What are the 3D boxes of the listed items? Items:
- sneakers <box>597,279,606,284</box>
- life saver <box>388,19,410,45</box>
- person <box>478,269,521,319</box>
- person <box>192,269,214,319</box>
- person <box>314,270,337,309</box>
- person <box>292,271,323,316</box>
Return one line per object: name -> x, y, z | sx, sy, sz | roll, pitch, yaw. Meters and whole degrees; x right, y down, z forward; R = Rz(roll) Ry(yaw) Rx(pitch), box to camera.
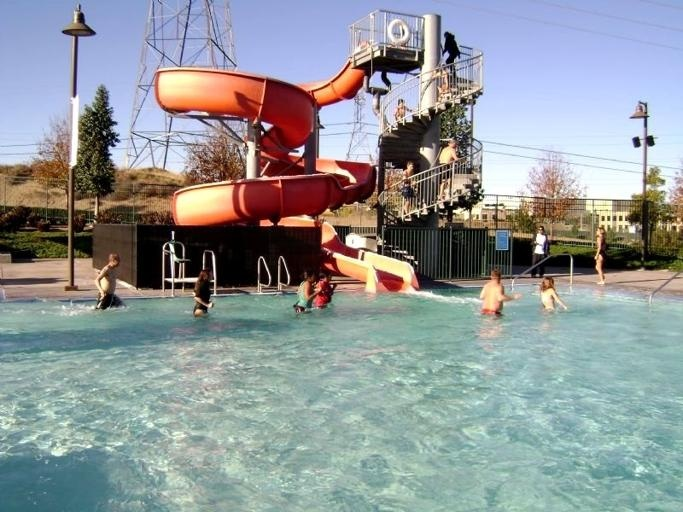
sneakers -> 7.928, 0.798, 18.627 | 0.196, 0.063, 0.211 | 1, 8, 39
life saver -> 2.120, -8.340, 22.521 | 0.862, 0.876, 0.243 | 0, 9, -13
person -> 3.398, 0.787, 13.429 | 0.630, 1.205, 1.842 | 4, 9, 12
person -> -2.873, 0.737, 12.531 | 0.375, 1.002, 0.767 | -1, 9, -14
person -> -0.267, 0.772, 13.815 | 0.455, 1.078, 0.365 | -9, 31, 6
person -> -0.768, 0.752, 13.204 | 0.537, 0.975, 0.886 | 1, 9, -3
